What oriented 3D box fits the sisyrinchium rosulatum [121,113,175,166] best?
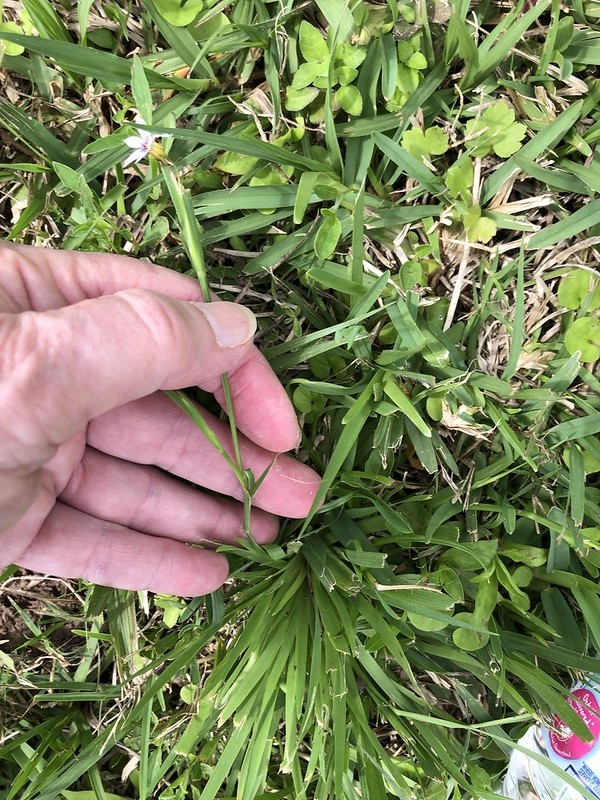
[{"bbox_3d":[-0.195,-0.360,0.886,0.061,0.060,0.026,29,96,47],"label":"sisyrinchium rosulatum"}]
